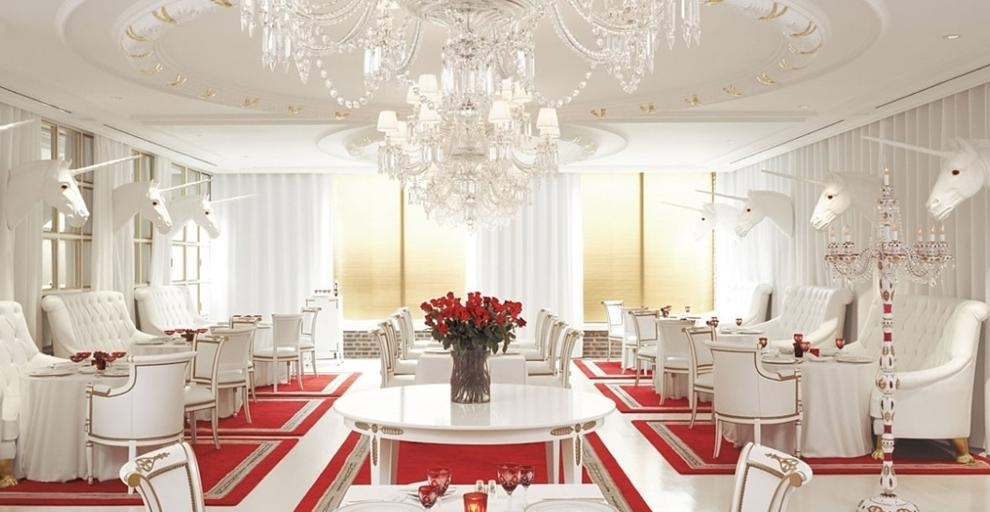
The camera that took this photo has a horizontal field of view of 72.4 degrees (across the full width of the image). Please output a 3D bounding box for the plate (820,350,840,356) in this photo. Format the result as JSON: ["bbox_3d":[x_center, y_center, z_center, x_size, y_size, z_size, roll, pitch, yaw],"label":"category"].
[{"bbox_3d":[5.344,1.566,10.821,0.220,0.050,0.229,-4,-5,36],"label":"plate"}]

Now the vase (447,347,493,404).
[{"bbox_3d":[-0.388,1.481,8.385,0.723,0.956,0.609,1,-10,-6],"label":"vase"}]
